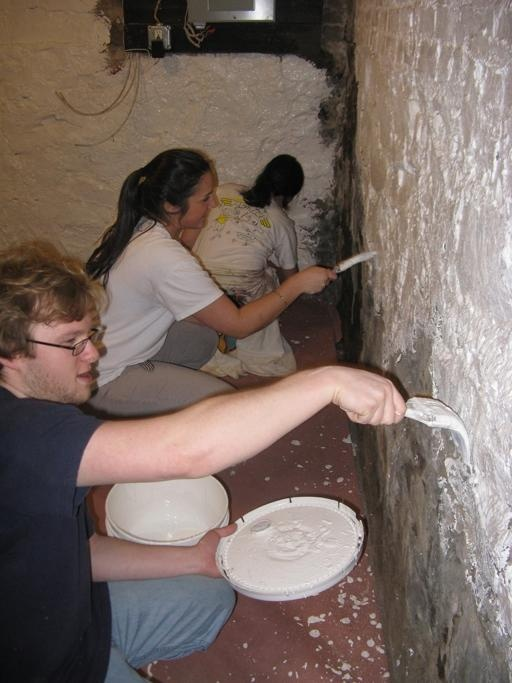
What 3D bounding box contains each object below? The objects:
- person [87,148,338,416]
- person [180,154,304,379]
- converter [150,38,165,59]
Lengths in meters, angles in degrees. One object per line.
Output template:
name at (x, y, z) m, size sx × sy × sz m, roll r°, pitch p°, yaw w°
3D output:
person at (-0.144, -0.066, 2.013) m, size 0.775 × 0.921 × 0.408 m, roll 5°, pitch 29°, yaw 5°
person at (-0.083, -0.326, 2.729) m, size 0.535 × 0.896 × 0.497 m, roll 0°, pitch 23°, yaw -16°
converter at (-0.446, -1.327, 2.906) m, size 0.061 × 0.105 × 0.057 m, roll 6°, pitch 43°, yaw -3°
